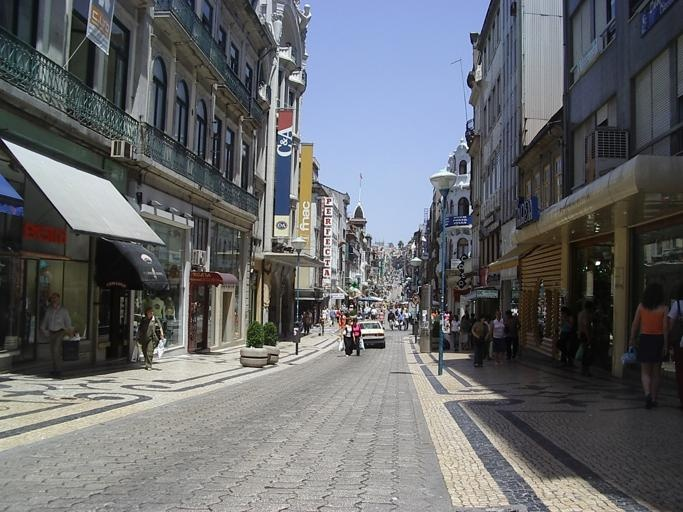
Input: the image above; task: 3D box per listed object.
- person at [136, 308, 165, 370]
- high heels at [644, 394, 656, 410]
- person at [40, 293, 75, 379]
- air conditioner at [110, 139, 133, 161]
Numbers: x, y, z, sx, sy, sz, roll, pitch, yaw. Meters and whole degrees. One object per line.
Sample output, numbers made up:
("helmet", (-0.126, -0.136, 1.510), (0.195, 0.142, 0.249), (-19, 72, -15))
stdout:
("person", (-5.684, 2.424, 18.680), (0.681, 1.909, 0.600), (10, 20, -3))
("high heels", (5.893, 2.793, 12.070), (0.129, 0.160, 0.370), (-2, -37, 7))
("person", (-7.163, 1.953, 15.894), (0.705, 2.007, 1.036), (1, -1, -27))
("air conditioner", (-6.408, -3.053, 18.297), (0.479, 0.488, 0.781), (1, -2, -1))
